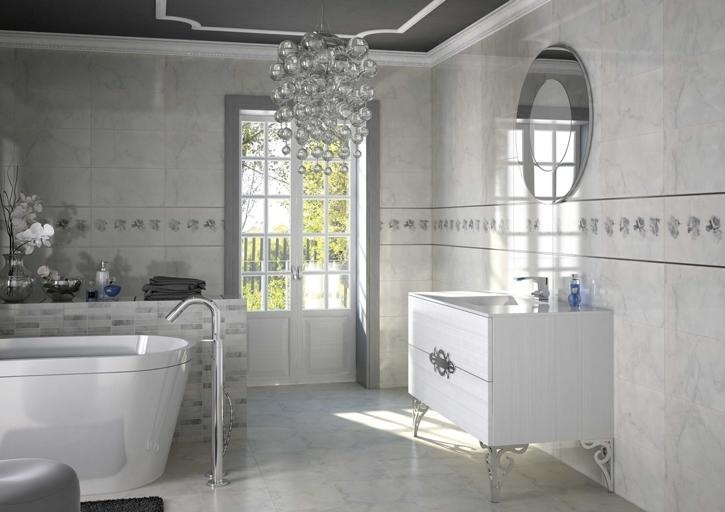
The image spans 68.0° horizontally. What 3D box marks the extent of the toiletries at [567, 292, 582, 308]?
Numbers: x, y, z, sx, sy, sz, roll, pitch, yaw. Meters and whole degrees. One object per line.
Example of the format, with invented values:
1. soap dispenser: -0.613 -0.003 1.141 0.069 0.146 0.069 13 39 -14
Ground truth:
1. toiletries: 1.346 0.284 3.467 0.092 0.120 0.085 3 5 36

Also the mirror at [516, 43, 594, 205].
1. mirror: 1.324 -0.912 3.766 0.094 1.099 0.726 -2 4 -17

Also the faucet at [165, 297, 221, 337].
1. faucet: -1.010 0.383 3.354 0.217 0.275 0.468 1 4 15

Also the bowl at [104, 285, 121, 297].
1. bowl: -1.999 0.279 4.298 0.101 0.078 0.103 0 2 0

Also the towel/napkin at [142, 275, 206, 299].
1. towel/napkin: -1.540 0.259 4.357 0.462 0.153 0.357 -1 4 -10

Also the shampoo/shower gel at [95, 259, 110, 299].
1. shampoo/shower gel: -2.098 0.189 4.410 0.111 0.290 0.111 -2 14 13

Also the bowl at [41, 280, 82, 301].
1. bowl: -2.395 0.269 4.294 0.200 0.116 0.201 -1 -5 0
